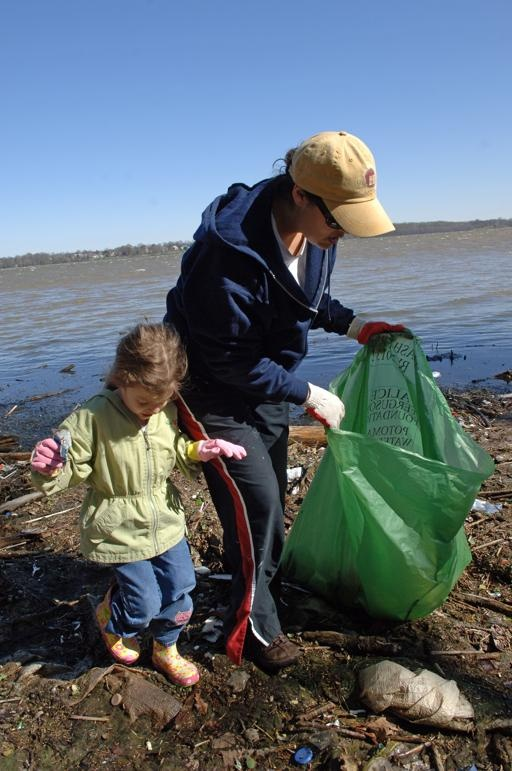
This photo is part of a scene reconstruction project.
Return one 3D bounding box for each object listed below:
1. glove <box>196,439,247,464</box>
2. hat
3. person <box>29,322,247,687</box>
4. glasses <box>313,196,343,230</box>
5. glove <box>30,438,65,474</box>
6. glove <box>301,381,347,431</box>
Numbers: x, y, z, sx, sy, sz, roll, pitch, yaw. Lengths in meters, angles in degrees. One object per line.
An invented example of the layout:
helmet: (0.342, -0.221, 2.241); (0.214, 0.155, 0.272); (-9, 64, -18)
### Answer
glove: (-0.148, 0.240, 2.304); (0.201, 0.097, 0.139); (-10, -5, 32)
hat: (0.275, -0.693, 2.014); (0.371, 0.356, 0.194); (4, 12, 17)
person: (-0.458, 0.502, 2.301); (0.770, 1.494, 0.432); (-4, 12, -22)
glasses: (0.243, -0.603, 2.058); (0.031, 0.114, 0.086); (-39, -4, 17)
glove: (-0.682, 0.234, 1.947); (0.067, 0.092, 0.124); (12, -28, 10)
glove: (0.277, 0.079, 2.515); (0.127, 0.219, 0.083); (-53, 18, -16)
